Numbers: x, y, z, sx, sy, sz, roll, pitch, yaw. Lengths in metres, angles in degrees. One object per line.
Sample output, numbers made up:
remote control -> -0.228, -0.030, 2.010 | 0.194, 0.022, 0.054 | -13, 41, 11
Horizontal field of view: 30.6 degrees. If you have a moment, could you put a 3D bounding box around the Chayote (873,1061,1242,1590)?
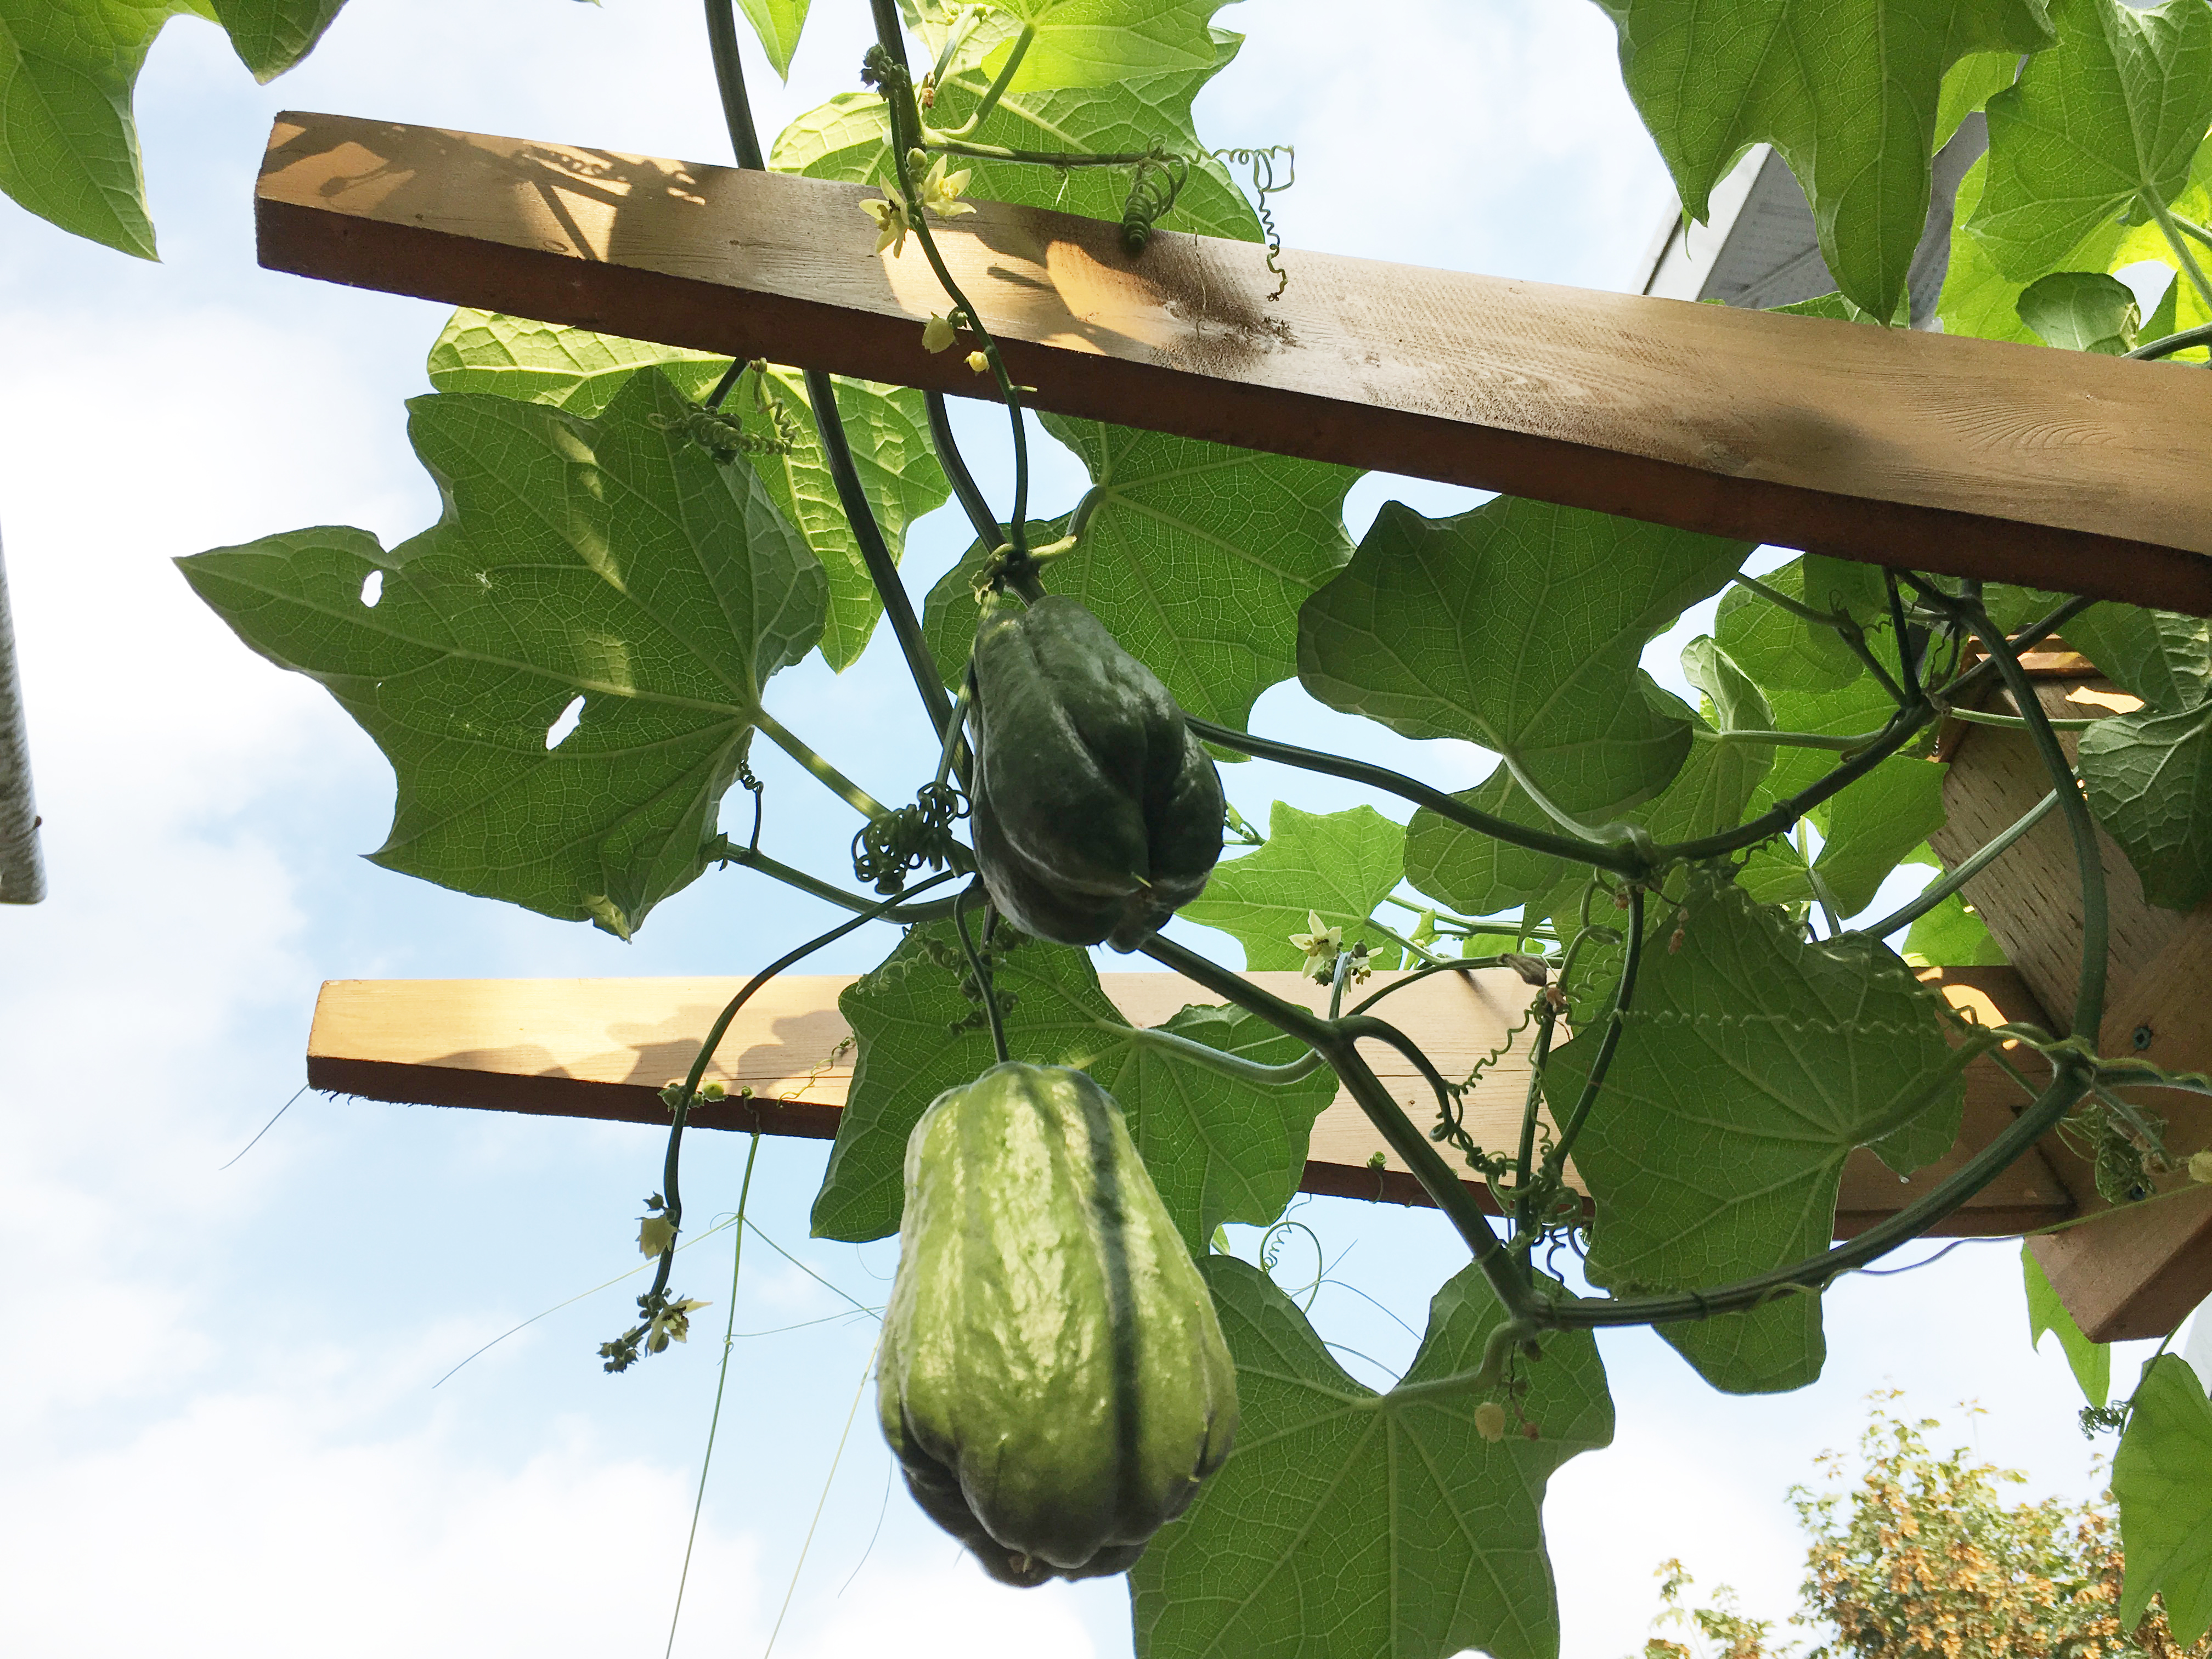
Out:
Chayote -> -0.080, 0.466, 3.317 | 0.287, 0.516, 0.326 | -7, -19, -3

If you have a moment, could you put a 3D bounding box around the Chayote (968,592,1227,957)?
Chayote -> -0.008, -0.003, 3.321 | 0.163, 0.302, 0.130 | -20, -15, -5
